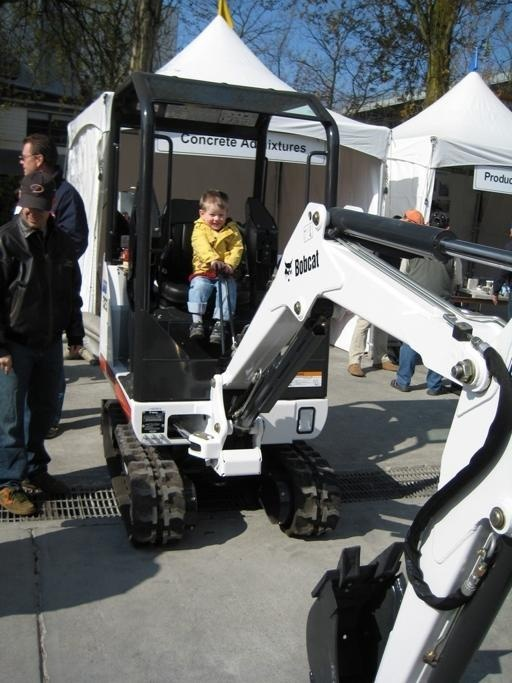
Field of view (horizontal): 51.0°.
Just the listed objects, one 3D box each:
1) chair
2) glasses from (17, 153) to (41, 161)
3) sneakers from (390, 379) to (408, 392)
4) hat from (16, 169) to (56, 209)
[{"bbox_3d":[-0.466,-0.640,3.721,0.390,0.661,0.588,5,4,-17],"label":"chair"},{"bbox_3d":[-1.723,-1.415,4.101,0.190,0.045,0.049,6,6,17],"label":"glasses"},{"bbox_3d":[1.962,0.619,7.352,0.093,0.114,0.255,3,4,-10],"label":"sneakers"},{"bbox_3d":[-1.275,-0.875,3.107,0.210,0.240,0.244,3,6,-7],"label":"hat"}]
